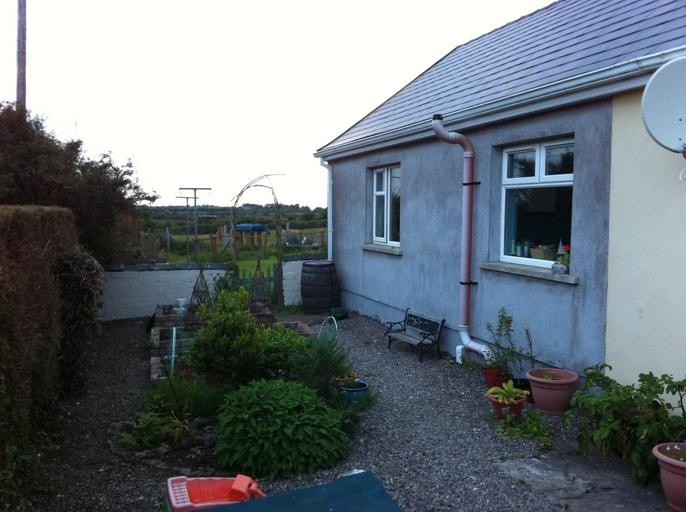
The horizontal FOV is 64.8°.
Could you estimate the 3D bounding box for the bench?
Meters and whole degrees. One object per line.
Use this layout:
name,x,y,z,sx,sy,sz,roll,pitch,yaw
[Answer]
bench,1.273,1.437,9.676,0.494,0.822,1.199,5,1,-23

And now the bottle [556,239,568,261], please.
bottle,3.134,-0.068,7.699,0.173,0.293,0.367,4,12,22

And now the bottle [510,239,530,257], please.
bottle,2.729,-0.112,8.325,0.203,0.451,0.226,3,2,34

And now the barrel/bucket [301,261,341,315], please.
barrel/bucket,-0.534,0.734,12.513,0.938,1.195,0.998,0,1,0

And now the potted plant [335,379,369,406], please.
potted plant,0.147,1.838,7.512,0.387,0.222,0.548,0,12,-2

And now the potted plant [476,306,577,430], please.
potted plant,2.566,1.452,7.710,0.635,1.048,1.624,-6,13,-27
